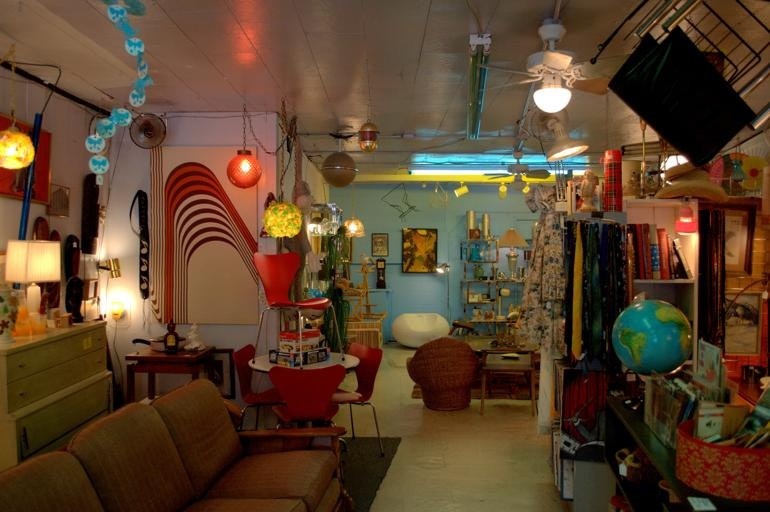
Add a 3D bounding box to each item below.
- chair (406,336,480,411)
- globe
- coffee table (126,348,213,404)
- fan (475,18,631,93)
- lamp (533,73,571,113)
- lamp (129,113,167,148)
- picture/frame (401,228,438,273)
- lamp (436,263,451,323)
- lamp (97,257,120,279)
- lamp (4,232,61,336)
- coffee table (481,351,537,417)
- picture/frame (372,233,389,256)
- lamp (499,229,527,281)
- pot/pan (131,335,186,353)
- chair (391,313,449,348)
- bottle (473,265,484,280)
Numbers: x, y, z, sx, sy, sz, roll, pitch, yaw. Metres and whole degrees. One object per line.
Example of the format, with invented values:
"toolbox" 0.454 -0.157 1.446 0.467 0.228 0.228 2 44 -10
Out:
"chair" 0.784 1.460 7.558 1.063 1.027 0.875 -1 2 3
"globe" 1.861 0.581 3.844 0.478 0.550 0.483 -4 -5 16
"coffee table" -2.455 1.225 6.417 0.819 0.603 0.731 0 -3 -3
"fan" 1.387 -1.779 4.742 1.237 0.467 1.144 -17 33 -25
"lamp" 1.493 -1.369 4.912 0.367 0.401 0.373 0 3 21
"lamp" -2.855 -1.494 6.692 0.424 0.439 0.314 -3 8 -22
"picture/frame" 0.748 -0.075 11.931 0.920 1.153 0.046 2 -4 -3
"lamp" 1.262 0.765 11.857 0.285 1.198 0.326 1 8 6
"lamp" -3.349 0.166 6.715 0.253 0.262 0.194 -3 8 -20
"lamp" -3.354 0.302 5.315 0.449 0.905 0.586 -5 9 -31
"coffee table" 1.669 1.720 7.525 1.028 0.778 0.756 -1 -9 3
"picture/frame" -0.114 -0.249 11.982 0.484 0.627 0.062 -1 5 0
"lamp" 2.552 -0.023 11.176 0.571 1.030 1.288 2 8 14
"pot/pan" -2.567 1.010 6.314 0.483 0.125 0.305 -1 -6 -2
"chair" 0.709 1.472 11.069 0.791 0.401 0.815 -1 -4 -10
"bottle" 1.937 0.372 11.627 0.230 0.334 0.260 2 -1 5
